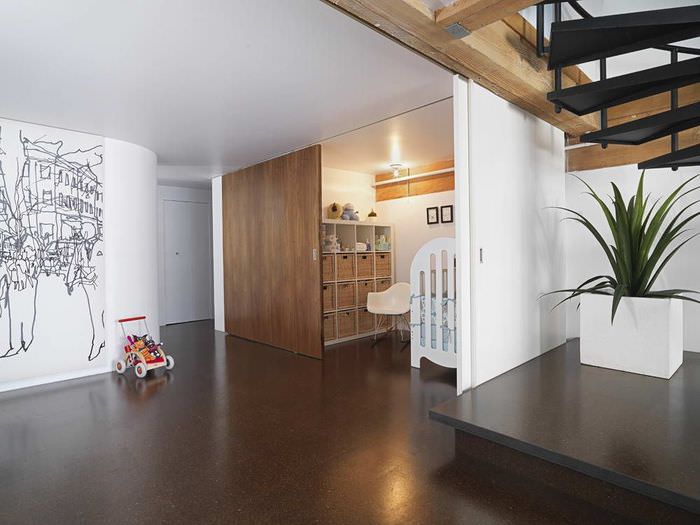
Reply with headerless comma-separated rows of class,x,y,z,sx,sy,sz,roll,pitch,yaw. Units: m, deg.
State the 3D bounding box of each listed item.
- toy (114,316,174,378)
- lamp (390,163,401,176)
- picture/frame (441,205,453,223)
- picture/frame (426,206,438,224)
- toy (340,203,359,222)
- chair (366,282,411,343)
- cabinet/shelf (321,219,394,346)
toy,-2.539,0.986,5.955,0.685,0.863,0.626,0,1,36
lamp,0.730,-1.484,7.615,0.122,0.135,0.126,-1,2,-14
picture/frame,1.456,-0.723,7.167,0.022,0.314,0.255,0,1,-40
picture/frame,1.275,-0.722,7.365,0.023,0.327,0.264,3,-4,-37
toy,0.016,-0.749,7.579,0.213,0.346,0.335,-5,-16,14
chair,0.670,0.711,7.172,0.787,1.062,0.779,-1,-1,31
cabinet/shelf,0.069,0.348,7.212,0.498,1.730,1.750,0,2,45
